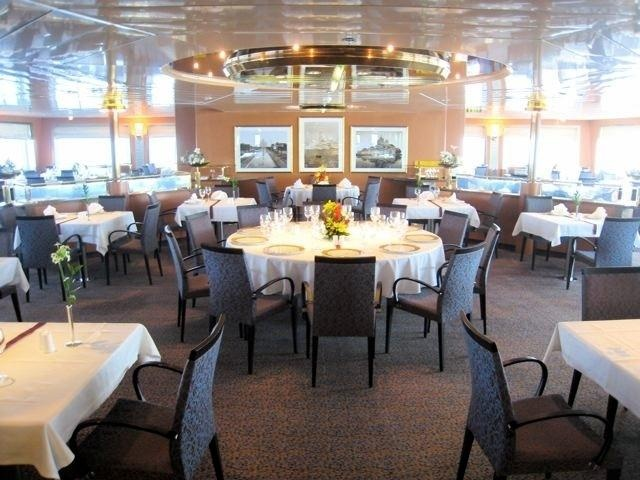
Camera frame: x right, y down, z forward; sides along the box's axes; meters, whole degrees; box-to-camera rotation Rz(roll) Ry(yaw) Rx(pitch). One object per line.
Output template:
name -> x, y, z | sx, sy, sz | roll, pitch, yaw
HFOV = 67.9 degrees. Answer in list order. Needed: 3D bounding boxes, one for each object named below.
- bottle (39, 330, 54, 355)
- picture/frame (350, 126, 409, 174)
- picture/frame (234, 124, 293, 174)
bottle -> -1.630, 0.588, 2.860 | 0.061, 0.119, 0.177 | -7, 13, -20
picture/frame -> 1.481, -2.360, 12.106 | 1.392, 0.940, 0.044 | 0, 12, 2
picture/frame -> -1.507, -2.351, 11.994 | 1.413, 0.922, 0.044 | 0, 13, -5
